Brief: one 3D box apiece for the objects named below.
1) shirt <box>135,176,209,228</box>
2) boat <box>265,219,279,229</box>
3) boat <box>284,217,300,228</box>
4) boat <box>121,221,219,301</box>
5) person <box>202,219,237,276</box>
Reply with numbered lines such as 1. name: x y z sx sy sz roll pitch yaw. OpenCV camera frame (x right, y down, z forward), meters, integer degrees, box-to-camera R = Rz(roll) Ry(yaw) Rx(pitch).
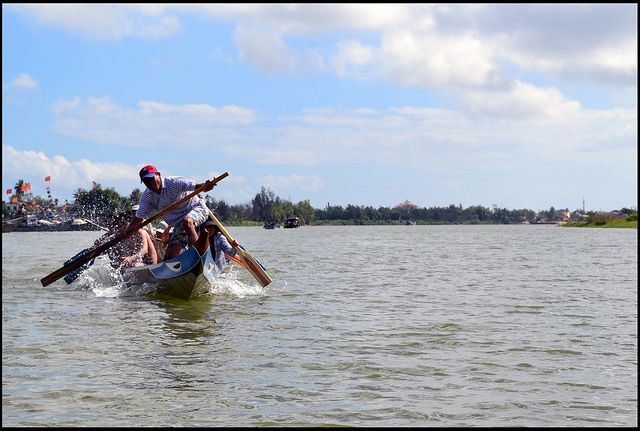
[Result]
1. shirt: -3.641 -0.307 19.414 1.515 1.274 0.841 4 13 16
2. boat: -7.806 1.269 125.343 1.729 0.906 3.060 -1 -3 -3
3. boat: -5.054 1.202 135.546 2.371 1.314 4.049 1 -2 -2
4. boat: -3.292 1.229 19.230 1.029 0.988 3.027 5 -18 -30
5. person: -2.593 0.720 20.001 0.530 0.229 1.589 42 -23 25
